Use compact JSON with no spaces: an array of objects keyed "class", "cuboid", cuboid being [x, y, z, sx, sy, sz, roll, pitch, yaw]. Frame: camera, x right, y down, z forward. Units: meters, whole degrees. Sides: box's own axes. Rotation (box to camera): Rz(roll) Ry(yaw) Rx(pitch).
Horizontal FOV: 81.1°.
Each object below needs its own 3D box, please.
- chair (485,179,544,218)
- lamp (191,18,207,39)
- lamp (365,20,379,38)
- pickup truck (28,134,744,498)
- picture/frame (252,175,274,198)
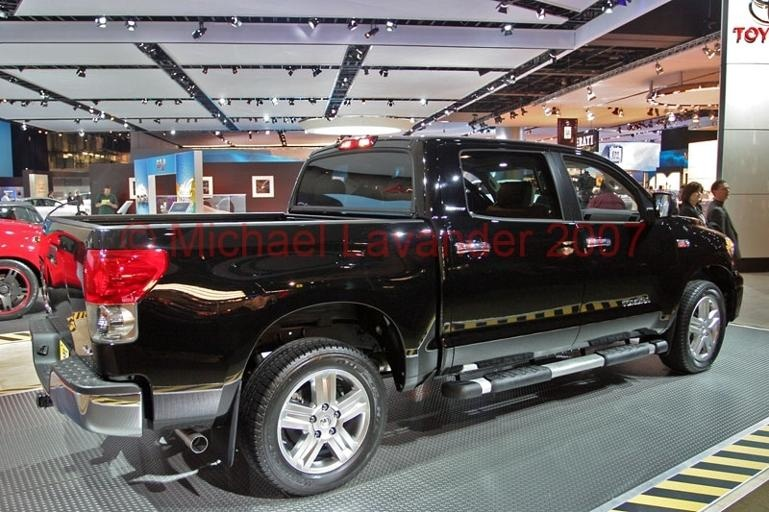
[{"class":"chair","cuboid":[1.078,-0.465,3.651,0.428,0.215,0.371,-1,9,-2]},{"class":"lamp","cuboid":[-4.756,-5.766,11.508,0.368,0.468,0.637,-4,11,-20]},{"class":"lamp","cuboid":[-0.267,-5.877,11.716,0.424,0.134,0.376,-10,3,-15]},{"class":"pickup truck","cuboid":[0.744,0.031,4.365,6.410,1.742,2.520,-5,8,-31]},{"class":"picture/frame","cuboid":[-6.172,-3.578,22.800,1.495,1.120,0.086,-1,4,-5]}]
